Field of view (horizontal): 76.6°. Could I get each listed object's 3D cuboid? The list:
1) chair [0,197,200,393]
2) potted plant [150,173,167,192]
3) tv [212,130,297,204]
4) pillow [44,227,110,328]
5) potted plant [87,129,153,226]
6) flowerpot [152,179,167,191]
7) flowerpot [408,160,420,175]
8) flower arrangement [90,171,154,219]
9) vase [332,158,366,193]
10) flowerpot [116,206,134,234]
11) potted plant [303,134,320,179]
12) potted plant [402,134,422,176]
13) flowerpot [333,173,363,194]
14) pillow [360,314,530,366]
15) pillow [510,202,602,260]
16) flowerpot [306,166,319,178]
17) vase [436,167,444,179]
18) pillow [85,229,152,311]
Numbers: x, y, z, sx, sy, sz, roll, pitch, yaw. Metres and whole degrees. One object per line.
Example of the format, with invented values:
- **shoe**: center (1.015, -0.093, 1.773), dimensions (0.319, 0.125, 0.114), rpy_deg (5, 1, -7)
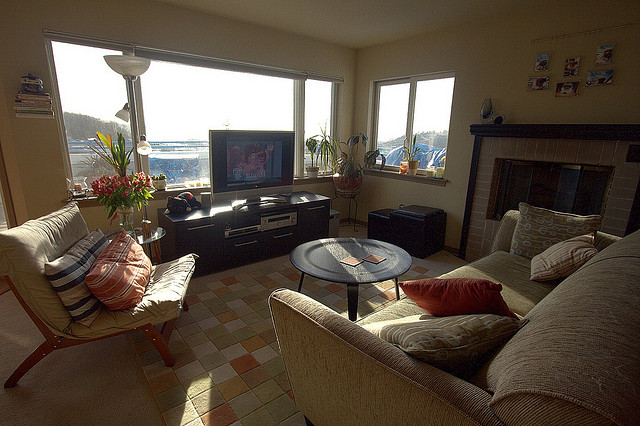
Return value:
- **chair**: center (-1.778, 0.588, 3.656), dimensions (1.606, 1.416, 1.262), rpy_deg (-1, 23, -15)
- **potted plant**: center (-1.852, -0.368, 4.700), dimensions (0.199, 0.248, 0.211), rpy_deg (-6, 13, -26)
- **tv**: center (-0.821, -0.560, 4.836), dimensions (0.889, 0.640, 0.089), rpy_deg (-11, 24, -39)
- **pillow**: center (-1.834, 0.512, 3.046), dimensions (0.210, 0.420, 0.600), rpy_deg (-19, 24, -3)
- **potted plant**: center (-1.905, -0.274, 3.977), dimensions (0.497, 0.966, 0.562), rpy_deg (7, 17, 18)
- **flowerpot**: center (-1.844, -0.319, 4.667), dimensions (0.120, 0.099, 0.119), rpy_deg (-2, 19, -7)
- **flowerpot**: center (1.299, -0.627, 5.578), dimensions (0.140, 0.190, 0.073), rpy_deg (-6, 16, -22)
- **flower arrangement**: center (-1.918, -0.167, 3.925), dimensions (0.527, 0.433, 0.502), rpy_deg (9, 10, 29)
- **vase**: center (0.394, -0.560, 5.984), dimensions (0.444, 0.511, 0.530), rpy_deg (6, 12, 20)
- **flowerpot**: center (-1.894, 0.092, 3.920), dimensions (0.175, 0.286, 0.173), rpy_deg (1, 8, -4)
- **potted plant**: center (-0.097, -0.824, 5.942), dimensions (0.195, 0.632, 0.348), rpy_deg (10, 18, 33)
- **potted plant**: center (1.251, -0.811, 5.654), dimensions (0.193, 0.543, 0.377), rpy_deg (-10, 18, -33)
- **flowerpot**: center (0.392, -0.458, 5.883), dimensions (0.318, 0.188, 0.318), rpy_deg (1, 10, 6)
- **pillow**: center (0.688, 0.716, 2.431), dimensions (0.467, 0.111, 0.462), rpy_deg (-3, 3, -35)
- **pillow**: center (2.159, 0.179, 3.720), dimensions (0.187, 0.401, 0.486), rpy_deg (-10, 15, -41)
- **flowerpot**: center (-0.105, -0.594, 5.877), dimensions (0.165, 0.123, 0.153), rpy_deg (-4, 16, -21)
- **vase**: center (1.570, -0.527, 5.293), dimensions (0.097, 0.151, 0.095), rpy_deg (4, 15, 13)
- **pillow**: center (-1.638, 0.471, 3.396), dimensions (0.388, 0.323, 0.880), rpy_deg (3, 20, -16)
